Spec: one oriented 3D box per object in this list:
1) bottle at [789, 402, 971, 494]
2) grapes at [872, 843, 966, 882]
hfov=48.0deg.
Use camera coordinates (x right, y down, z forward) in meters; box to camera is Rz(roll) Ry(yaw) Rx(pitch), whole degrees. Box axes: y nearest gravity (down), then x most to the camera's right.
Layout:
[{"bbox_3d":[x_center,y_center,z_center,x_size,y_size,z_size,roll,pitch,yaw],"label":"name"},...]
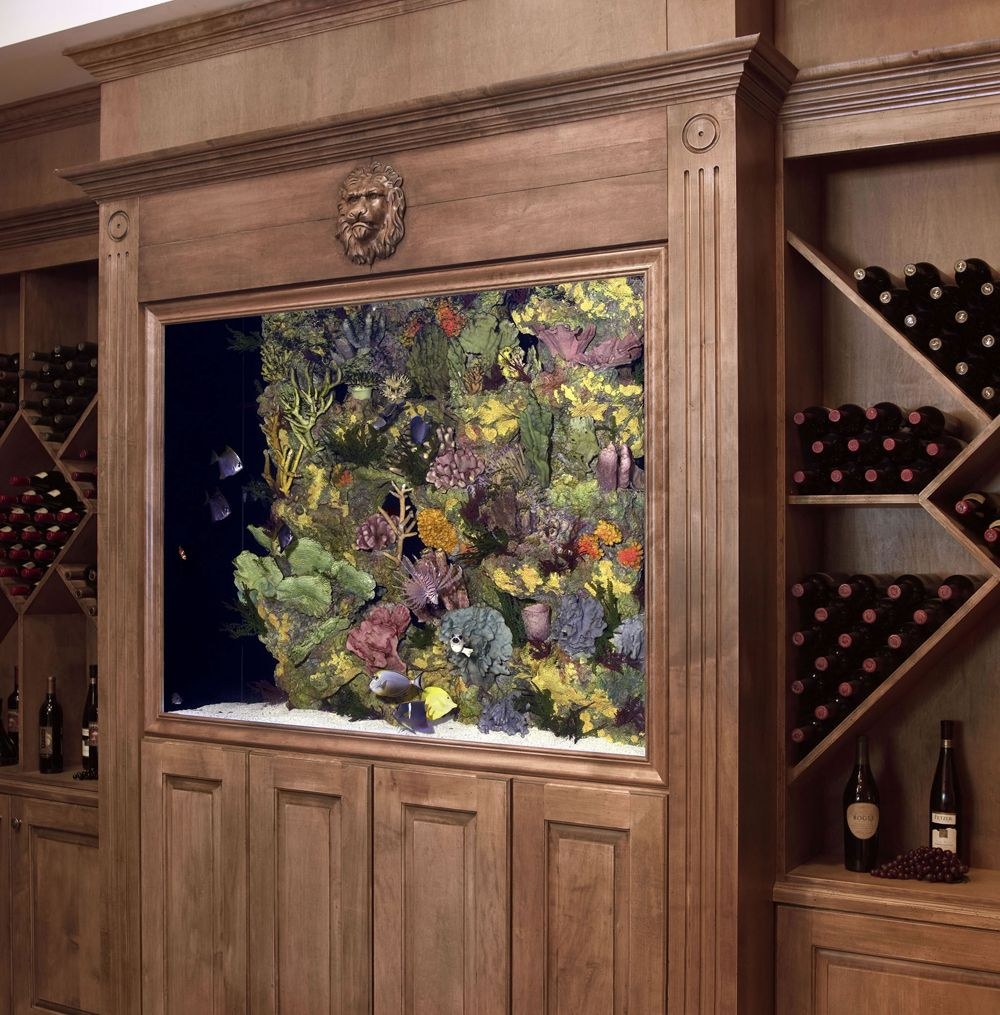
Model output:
[{"bbox_3d":[0.850,-0.144,2.518,0.386,0.189,0.369,1,5,0],"label":"bottle"},{"bbox_3d":[0.885,0.735,2.344,0.121,0.045,0.085,-5,-4,14],"label":"grapes"}]
